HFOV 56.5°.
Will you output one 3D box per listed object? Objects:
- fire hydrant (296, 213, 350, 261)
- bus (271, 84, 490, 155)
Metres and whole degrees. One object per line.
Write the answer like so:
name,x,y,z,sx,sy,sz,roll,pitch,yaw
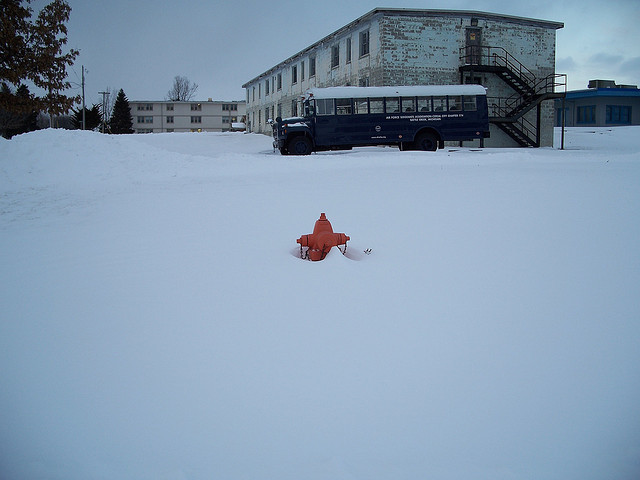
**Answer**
fire hydrant,0.059,-0.040,9.653,0.826,0.746,0.414,0,7,-35
bus,2.309,-5.702,24.943,9.757,4.343,3.529,-2,5,-14
